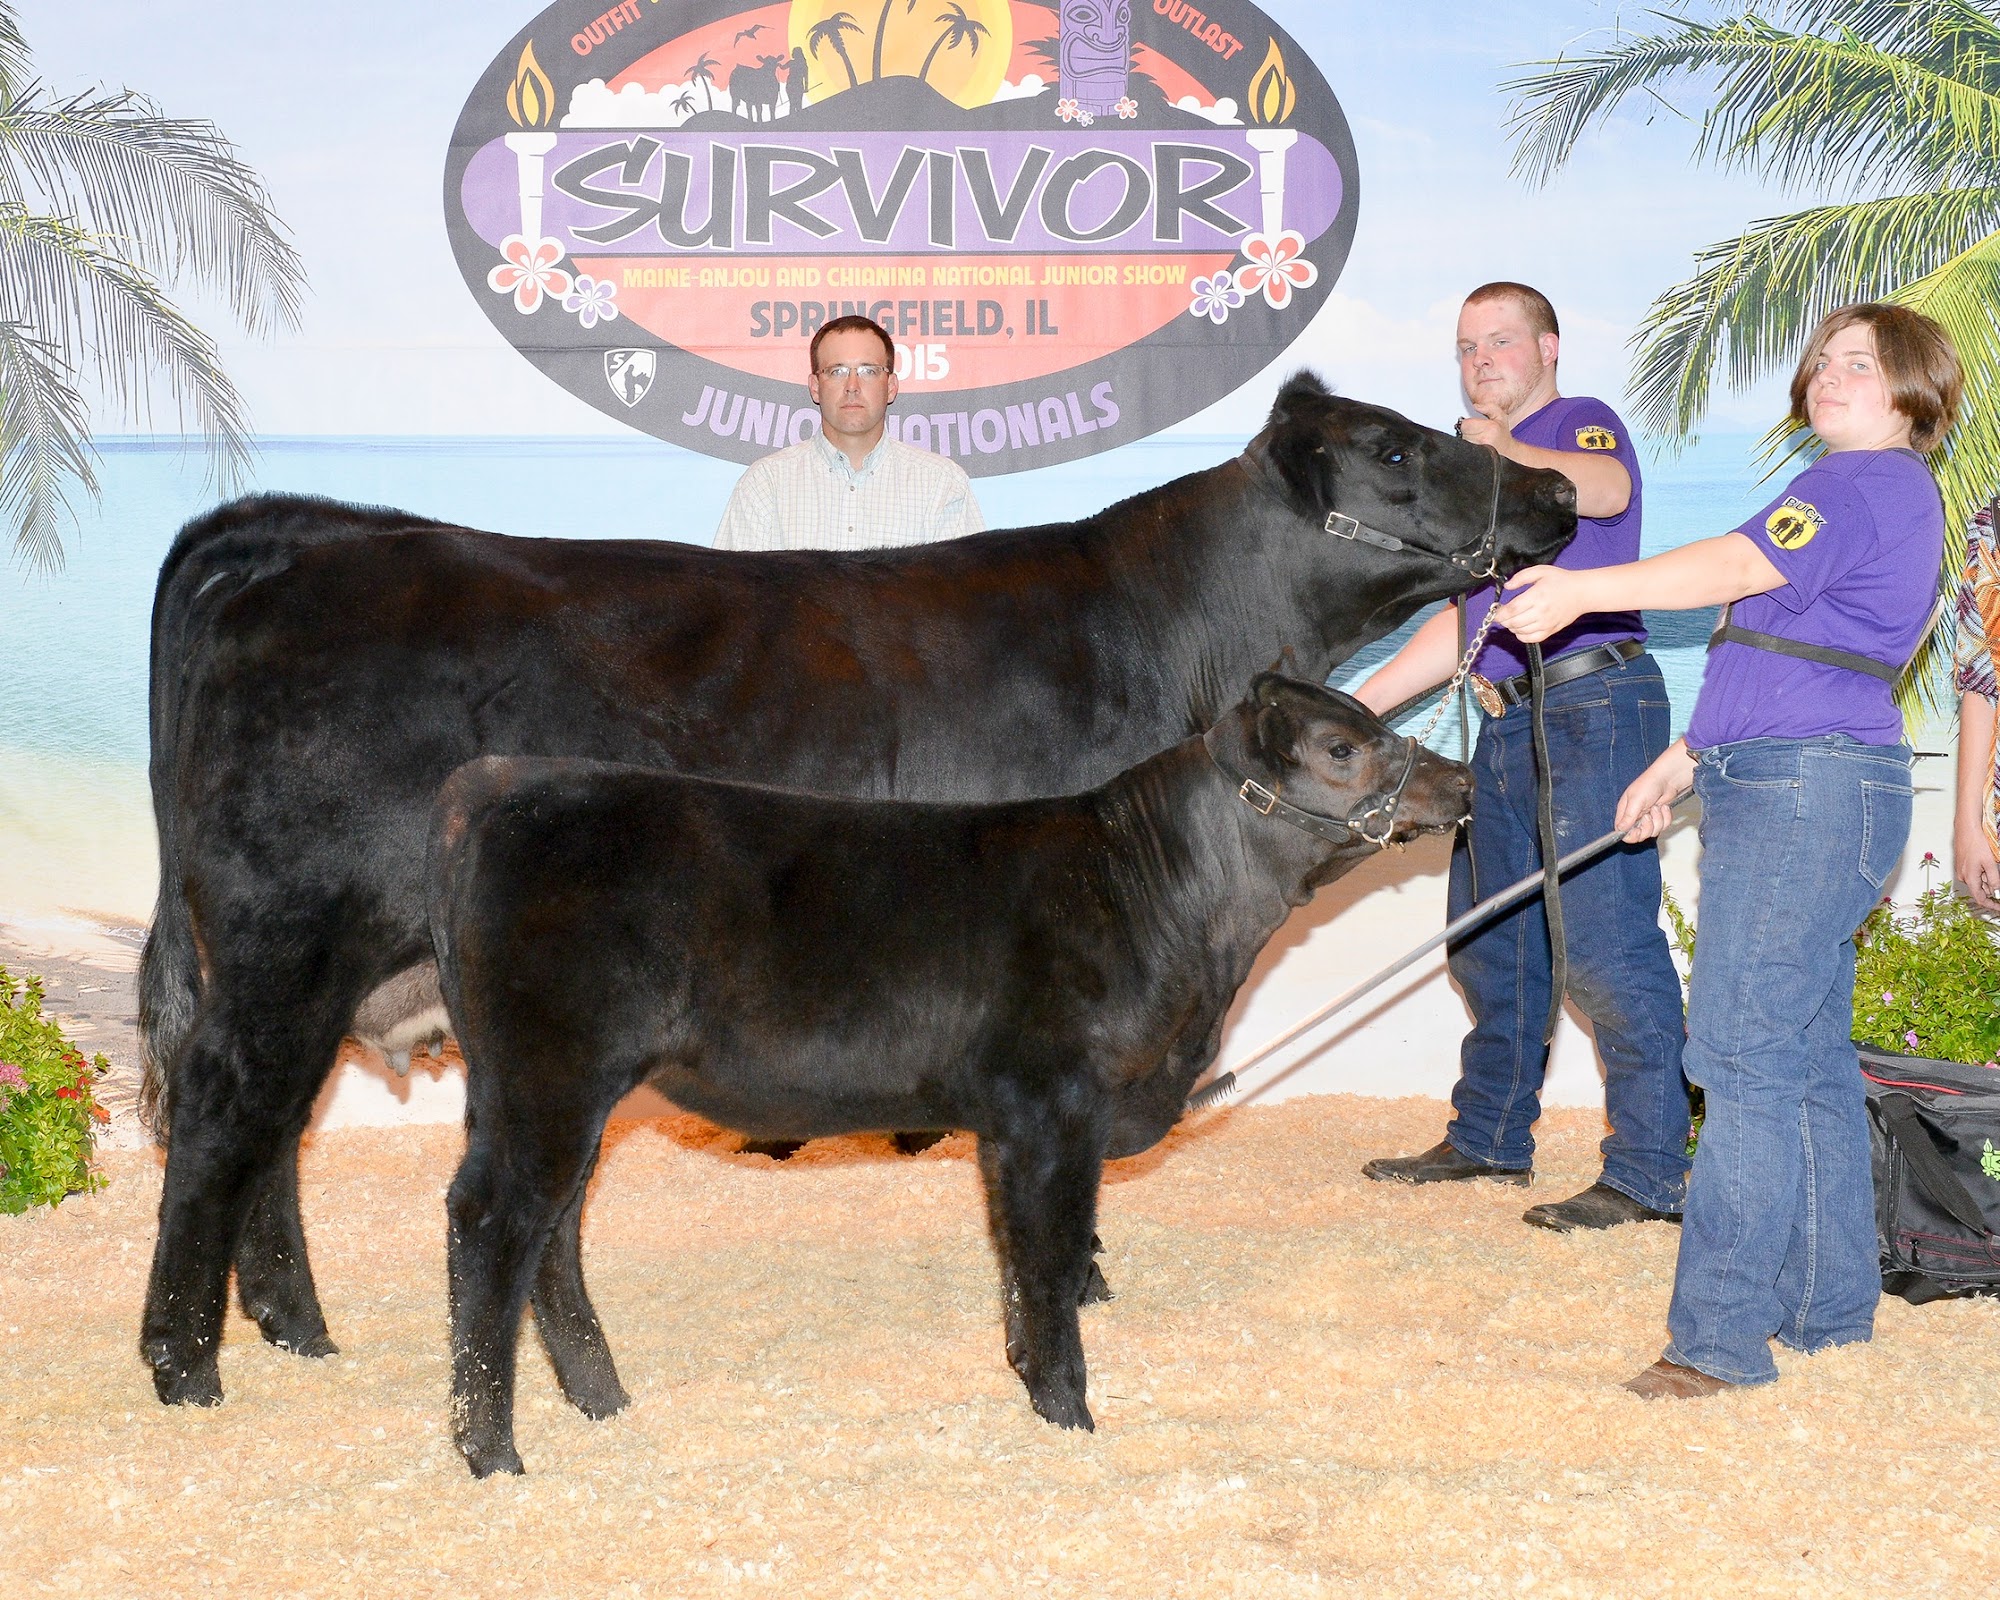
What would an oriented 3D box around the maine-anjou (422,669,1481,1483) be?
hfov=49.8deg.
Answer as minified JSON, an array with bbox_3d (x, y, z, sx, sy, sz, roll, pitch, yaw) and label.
[{"bbox_3d":[-0.071,0.589,5.118,2.453,1.555,0.723,-1,-2,-19],"label":"maine-anjou"}]

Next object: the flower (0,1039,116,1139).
[{"bbox_3d":[-3.063,0.907,6.957,0.140,0.280,0.309,-9,-11,42],"label":"flower"}]

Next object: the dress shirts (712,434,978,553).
[{"bbox_3d":[-0.486,-0.983,6.982,0.732,0.513,0.227,-1,-4,7],"label":"dress shirts"}]

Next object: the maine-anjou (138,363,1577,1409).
[{"bbox_3d":[-0.391,0.228,5.662,3.272,1.778,0.922,-2,-7,-5],"label":"maine-anjou"}]
